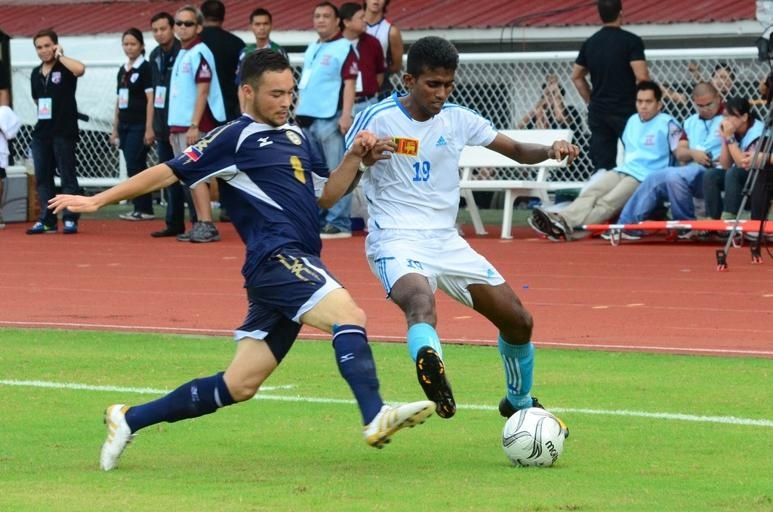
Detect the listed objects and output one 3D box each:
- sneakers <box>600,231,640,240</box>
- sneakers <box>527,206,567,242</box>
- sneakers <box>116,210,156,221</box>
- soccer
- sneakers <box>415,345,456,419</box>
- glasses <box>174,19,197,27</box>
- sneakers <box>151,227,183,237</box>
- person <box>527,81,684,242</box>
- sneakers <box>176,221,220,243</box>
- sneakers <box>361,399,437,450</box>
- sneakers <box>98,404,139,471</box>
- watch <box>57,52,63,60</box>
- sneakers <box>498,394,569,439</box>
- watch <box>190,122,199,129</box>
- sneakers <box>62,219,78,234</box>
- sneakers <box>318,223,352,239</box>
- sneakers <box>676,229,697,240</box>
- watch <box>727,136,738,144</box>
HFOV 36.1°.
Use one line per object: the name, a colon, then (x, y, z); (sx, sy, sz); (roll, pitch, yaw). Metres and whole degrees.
sneakers: (2.717, -0.248, 13.963); (0.470, 0.149, 0.136); (1, 3, -1)
sneakers: (1.881, -0.393, 13.985); (0.279, 0.243, 0.584); (-32, -31, 17)
sneakers: (-3.632, -0.607, 17.291); (0.534, 0.160, 0.174); (2, 0, -23)
soccer: (0.920, 1.137, 7.349); (0.343, 0.261, 0.396); (-4, -2, 23)
sneakers: (0.279, 0.771, 7.248); (0.202, 0.452, 0.214); (-25, -2, -11)
glasses: (-2.369, -2.756, 13.950); (0.238, 0.090, 0.124); (-1, 13, 1)
sneakers: (-2.786, -0.312, 14.997); (0.483, 0.150, 0.140); (3, 1, -14)
person: (2.500, -1.058, 13.561); (2.113, 1.146, 0.999); (-37, 41, -28)
sneakers: (-2.266, -0.295, 14.493); (0.285, 0.148, 0.426); (0, -1, 37)
sneakers: (0.050, 0.966, 7.058); (0.497, 0.220, 0.197); (-39, -34, 25)
sneakers: (-1.675, 1.129, 7.356); (0.228, 0.396, 0.153); (0, -23, 22)
watch: (-4.101, -2.550, 14.934); (0.042, 0.081, 0.063); (-3, -4, -33)
sneakers: (0.949, 1.025, 7.888); (0.190, 0.187, 0.522); (-28, 32, -36)
watch: (-2.261, -1.549, 13.924); (0.075, 0.057, 0.047); (5, -15, 0)
sneakers: (-4.175, -0.401, 15.672); (0.236, 0.205, 0.554); (0, -2, -15)
sneakers: (-0.632, -0.301, 14.642); (0.431, 0.138, 0.149); (4, 5, -19)
sneakers: (3.465, -0.259, 13.785); (0.334, 0.108, 0.097); (-7, 10, -38)
watch: (3.720, -1.267, 12.817); (0.107, 0.054, 0.107); (3, 2, 6)
